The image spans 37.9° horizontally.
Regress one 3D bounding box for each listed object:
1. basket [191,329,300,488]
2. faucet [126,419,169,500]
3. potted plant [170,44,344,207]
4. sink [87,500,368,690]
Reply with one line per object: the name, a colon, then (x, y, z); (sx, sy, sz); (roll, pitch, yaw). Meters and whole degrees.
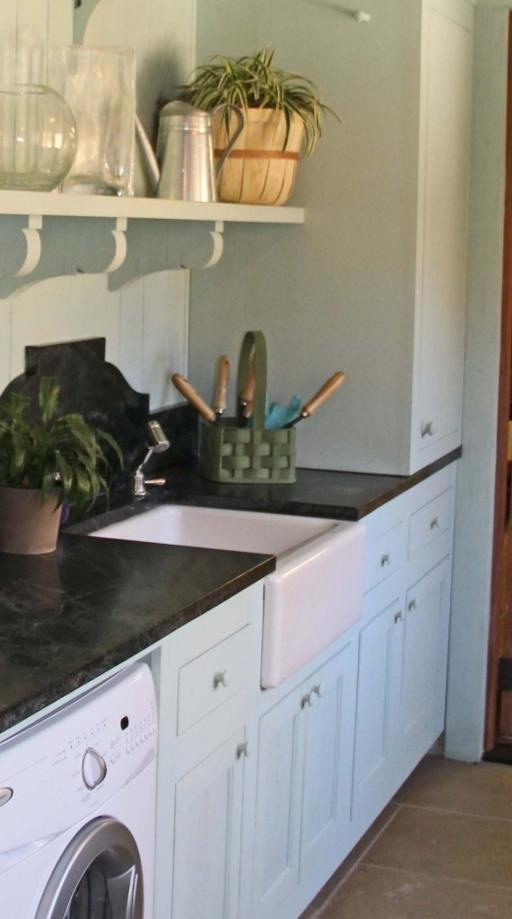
basket: (-0.016, -0.123, 2.133); (0.335, 0.655, 0.356); (1, -4, 1)
faucet: (-0.271, -0.009, 1.901); (0.083, 0.186, 0.398); (2, 3, -7)
potted plant: (0.012, -0.845, 1.943); (0.336, 0.350, 0.321); (21, 22, 40)
sink: (-0.023, 0.225, 1.643); (0.388, 0.212, 0.371); (5, 10, 26)
